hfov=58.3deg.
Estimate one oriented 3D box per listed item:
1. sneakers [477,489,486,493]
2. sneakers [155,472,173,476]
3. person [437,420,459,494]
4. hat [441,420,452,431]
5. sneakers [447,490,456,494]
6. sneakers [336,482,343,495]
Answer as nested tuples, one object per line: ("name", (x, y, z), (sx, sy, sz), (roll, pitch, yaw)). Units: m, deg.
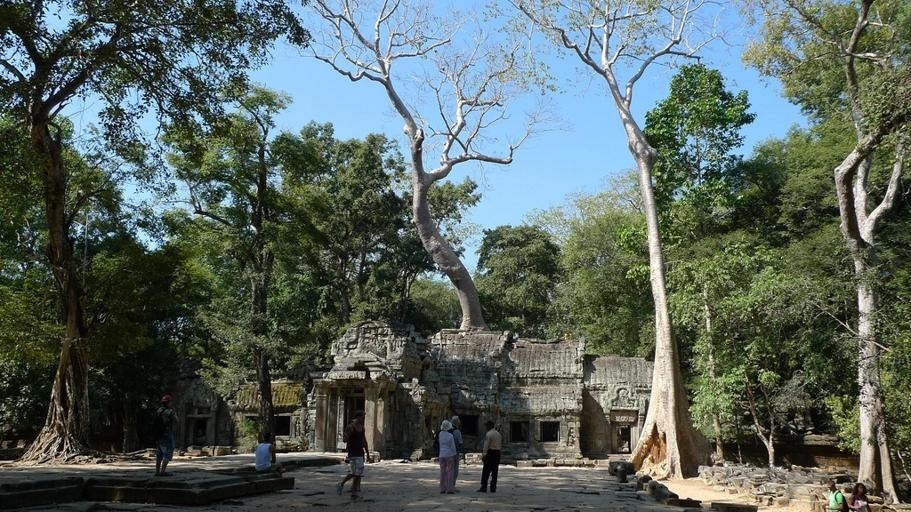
("sneakers", (0.905, 7.924, 27.719), (0.258, 0.111, 0.331), (1, -14, -3))
("sneakers", (-9.460, 7.075, 26.481), (0.355, 0.128, 0.184), (-1, -10, -1))
("person", (-0.276, 6.757, 27.630), (0.653, 2.367, 0.797), (-1, -14, 3))
("hat", (-0.285, 5.747, 27.789), (0.351, 0.274, 0.499), (1, 7, 35))
("sneakers", (-0.100, 7.876, 27.398), (0.196, 0.085, 0.371), (-11, -18, 37))
("sneakers", (-3.763, 7.555, 26.649), (0.193, 0.391, 0.137), (1, -3, -8))
